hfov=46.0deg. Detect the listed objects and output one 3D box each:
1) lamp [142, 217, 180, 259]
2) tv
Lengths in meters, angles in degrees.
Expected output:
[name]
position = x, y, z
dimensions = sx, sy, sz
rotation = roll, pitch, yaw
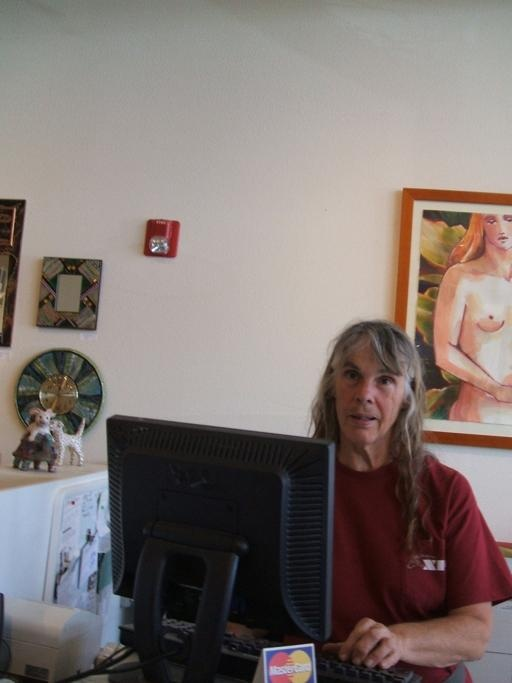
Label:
[lamp]
position = -0.366, -0.399, 2.337
dimensions = 0.145, 0.139, 0.042
rotation = 5, 0, 7
[tv]
position = -0.062, 0.352, 1.002
dimensions = 0.474, 0.368, 0.152
rotation = 6, 14, 26
